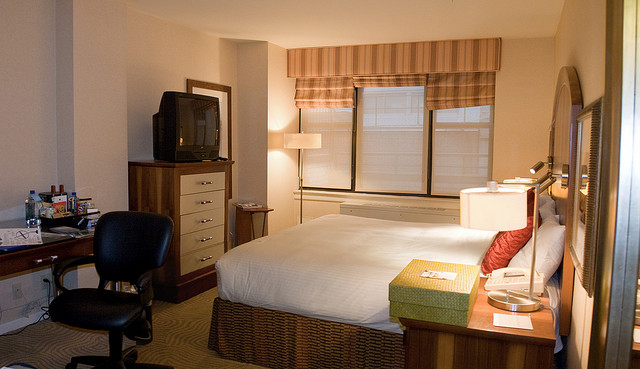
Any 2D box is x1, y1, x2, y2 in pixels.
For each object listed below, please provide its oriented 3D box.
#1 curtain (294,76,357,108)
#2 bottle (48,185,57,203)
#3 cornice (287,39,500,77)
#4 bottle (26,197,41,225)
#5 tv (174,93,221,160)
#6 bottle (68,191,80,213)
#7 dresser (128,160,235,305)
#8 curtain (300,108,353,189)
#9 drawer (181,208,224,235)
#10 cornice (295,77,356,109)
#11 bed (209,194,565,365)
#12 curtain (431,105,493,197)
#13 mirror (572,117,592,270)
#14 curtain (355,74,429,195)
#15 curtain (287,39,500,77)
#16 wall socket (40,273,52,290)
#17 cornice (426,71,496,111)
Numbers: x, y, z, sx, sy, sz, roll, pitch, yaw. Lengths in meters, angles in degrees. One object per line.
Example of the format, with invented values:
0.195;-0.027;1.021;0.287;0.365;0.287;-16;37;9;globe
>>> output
0.069;-1.591;7.653;1.074;0.520;0.054;1;7;16;curtain
-2.858;0.101;4.718;0.074;0.163;0.202;-5;7;-29;bottle
1.228;-2.081;7.332;3.592;0.440;0.430;-4;20;-6;cornice
-2.999;0.279;4.623;0.123;0.262;0.200;-6;8;-32;bottle
-1.580;-0.736;5.691;0.028;0.804;0.731;4;8;36;tv
-2.676;0.192;4.805;0.107;0.212;0.156;-5;8;-30;bottle
-1.934;0.543;6.048;0.934;1.640;1.283;2;3;13;dresser
0.117;-0.662;7.820;1.105;1.543;0.020;-4;8;-29;curtain
-1.761;0.450;5.946;0.679;0.243;0.787;3;6;28;drawer
0.078;-1.575;7.665;1.505;0.464;0.204;4;9;28;cornice
0.454;1.060;4.615;2.402;1.027;2.325;2;3;23;bed
2.260;-0.581;6.914;1.116;1.364;0.103;5;9;25;curtain
2.032;0.042;3.440;0.079;1.084;0.661;3;8;30;mirror
1.241;-0.845;7.527;1.397;1.924;0.024;-2;8;-20;curtain
1.122;-2.087;7.382;3.556;0.440;0.439;3;18;20;curtain
-3.141;1.123;5.073;0.037;0.135;0.158;10;3;38;wall socket
2.210;-1.482;6.949;1.005;0.555;0.037;1;8;20;cornice
